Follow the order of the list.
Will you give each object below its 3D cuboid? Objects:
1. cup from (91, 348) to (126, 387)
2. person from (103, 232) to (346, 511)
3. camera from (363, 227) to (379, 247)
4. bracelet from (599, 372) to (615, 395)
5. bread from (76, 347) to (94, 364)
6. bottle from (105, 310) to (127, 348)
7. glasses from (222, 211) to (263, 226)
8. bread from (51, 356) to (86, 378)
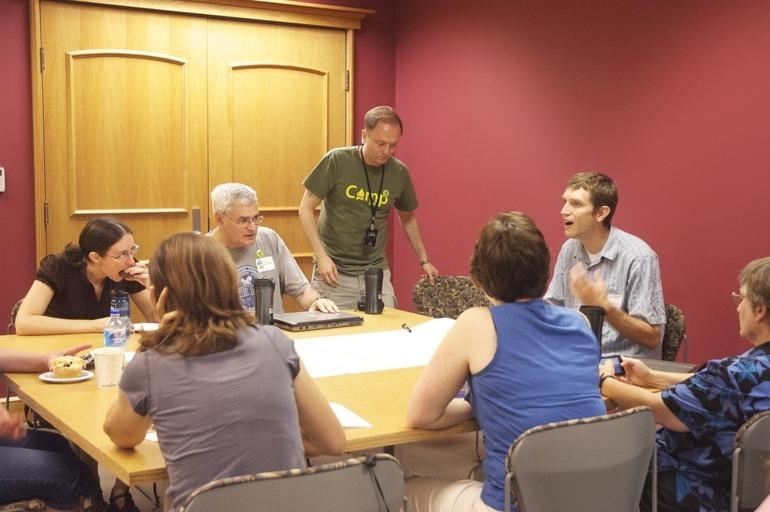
[{"bbox_3d":[-1.057,0.436,2.411,0.149,0.160,0.154,2,-1,0],"label":"cup"},{"bbox_3d":[-0.511,0.345,1.965,0.686,0.792,0.384,4,12,18],"label":"person"},{"bbox_3d":[-0.078,-0.124,4.381,0.113,0.151,0.076,-7,14,-34],"label":"camera"},{"bbox_3d":[0.860,0.500,2.421,0.034,0.045,0.107,0,3,21],"label":"bracelet"},{"bbox_3d":[-1.281,0.438,2.711,0.061,0.099,0.095,2,-6,-21],"label":"bread"},{"bbox_3d":[-1.181,0.328,2.752,0.098,0.167,0.108,5,3,0],"label":"bottle"},{"bbox_3d":[-0.777,-0.205,3.481,0.215,0.076,0.081,-5,13,-28],"label":"glasses"},{"bbox_3d":[-1.288,0.441,2.541,0.081,0.039,0.103,-7,14,-36],"label":"bread"}]
